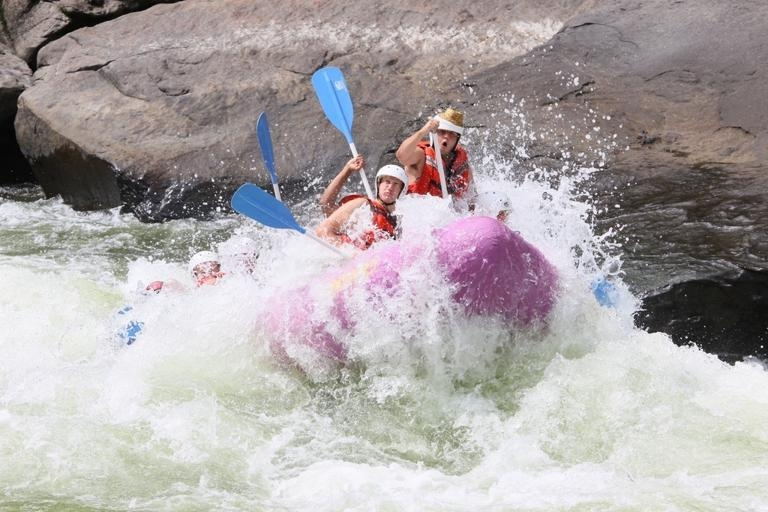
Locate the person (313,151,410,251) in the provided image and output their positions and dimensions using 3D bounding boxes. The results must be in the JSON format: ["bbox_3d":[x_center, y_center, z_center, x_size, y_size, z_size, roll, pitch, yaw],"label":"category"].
[{"bbox_3d":[-0.187,-0.411,8.670,0.992,0.377,0.658,-35,32,-15],"label":"person"}]

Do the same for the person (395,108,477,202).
[{"bbox_3d":[0.530,-0.934,9.498,0.682,1.183,0.403,-31,57,-14],"label":"person"}]

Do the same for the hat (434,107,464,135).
[{"bbox_3d":[0.615,-1.262,9.355,0.238,0.214,0.284,7,29,-24],"label":"hat"}]

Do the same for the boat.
[{"bbox_3d":[0.263,0.444,8.407,2.261,0.826,1.077,-18,44,3],"label":"boat"}]

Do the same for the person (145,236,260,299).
[{"bbox_3d":[-1.596,0.099,8.908,1.028,0.461,0.381,-24,35,5],"label":"person"}]

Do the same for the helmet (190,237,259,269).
[{"bbox_3d":[-1.424,-0.015,8.815,0.525,0.181,0.318,-18,14,-8],"label":"helmet"}]

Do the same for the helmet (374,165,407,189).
[{"bbox_3d":[0.062,-0.680,8.644,0.213,0.233,0.229,5,14,-2],"label":"helmet"}]
